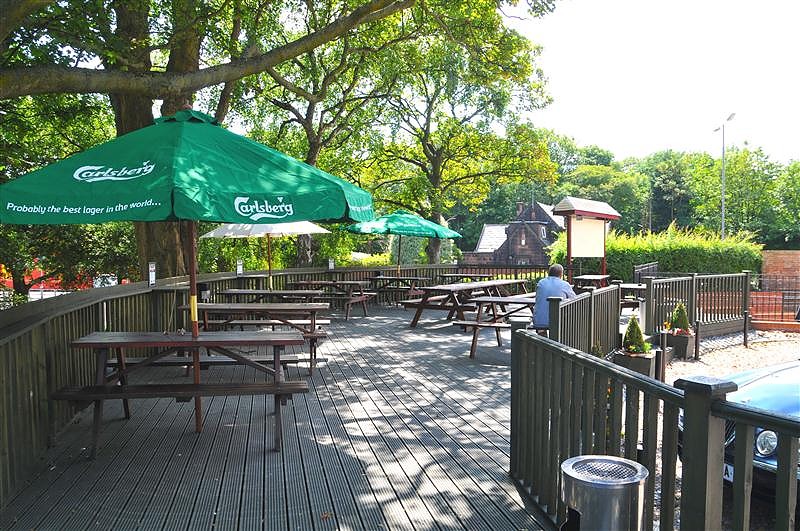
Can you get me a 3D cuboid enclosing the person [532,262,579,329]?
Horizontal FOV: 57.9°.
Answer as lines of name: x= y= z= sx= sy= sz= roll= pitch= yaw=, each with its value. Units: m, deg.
person: x=2.643 y=0.524 z=12.421 sx=0.614 sy=1.044 sz=0.677 roll=9 pitch=13 yaw=38
